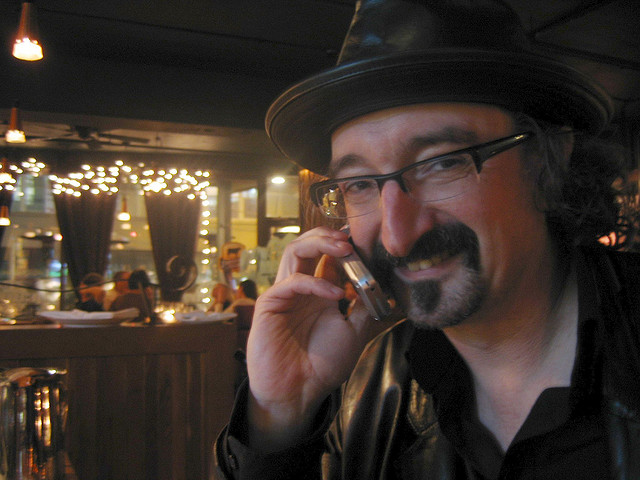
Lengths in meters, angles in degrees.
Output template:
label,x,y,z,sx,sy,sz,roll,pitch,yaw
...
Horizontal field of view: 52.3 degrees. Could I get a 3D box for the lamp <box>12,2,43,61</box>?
label,x,y,z,sx,sy,sz,roll,pitch,yaw
lamp,-2.004,-1.442,4.470,0.174,0.444,0.311,0,-2,-24

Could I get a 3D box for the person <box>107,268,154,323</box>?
label,x,y,z,sx,sy,sz,roll,pitch,yaw
person,-2.139,0.634,7.303,0.476,0.560,1.416,0,-2,-17

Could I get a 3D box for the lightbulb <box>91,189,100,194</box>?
label,x,y,z,sx,sy,sz,roll,pitch,yaw
lightbulb,-3.155,-0.683,9.184,0.051,0.089,0.354,15,-8,-28

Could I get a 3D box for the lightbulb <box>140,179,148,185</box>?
label,x,y,z,sx,sy,sz,roll,pitch,yaw
lightbulb,-2.138,-0.689,7.861,0.071,0.056,0.208,0,-2,-24

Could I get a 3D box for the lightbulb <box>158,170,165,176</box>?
label,x,y,z,sx,sy,sz,roll,pitch,yaw
lightbulb,-1.893,-0.799,7.761,0.044,0.070,0.110,-1,-2,8

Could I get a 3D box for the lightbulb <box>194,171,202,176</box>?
label,x,y,z,sx,sy,sz,roll,pitch,yaw
lightbulb,-1.541,-0.833,8.217,0.093,0.066,0.089,0,-2,-11

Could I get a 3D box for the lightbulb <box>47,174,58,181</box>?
label,x,y,z,sx,sy,sz,roll,pitch,yaw
lightbulb,-3.722,-0.868,9.048,0.053,0.087,0.488,10,2,-35

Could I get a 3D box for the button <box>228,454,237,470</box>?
label,x,y,z,sx,sy,sz,roll,pitch,yaw
button,-0.365,0.920,2.716,0.044,0.040,0.043,-28,-31,-10

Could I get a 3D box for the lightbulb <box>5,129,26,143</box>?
label,x,y,z,sx,sy,sz,roll,pitch,yaw
lightbulb,-2.669,-0.902,5.698,0.244,0.098,0.236,-5,14,-25

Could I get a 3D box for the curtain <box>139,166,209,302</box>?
label,x,y,z,sx,sy,sz,roll,pitch,yaw
curtain,-2.366,-0.200,10.577,1.218,2.420,0.233,-5,-31,-1

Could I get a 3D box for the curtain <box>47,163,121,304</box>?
label,x,y,z,sx,sy,sz,roll,pitch,yaw
curtain,-3.551,0.033,9.941,0.941,1.988,0.394,-8,42,-28

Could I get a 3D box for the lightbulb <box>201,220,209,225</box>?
label,x,y,z,sx,sy,sz,roll,pitch,yaw
lightbulb,-1.741,-0.264,9.906,0.067,0.071,0.242,0,-2,-3
